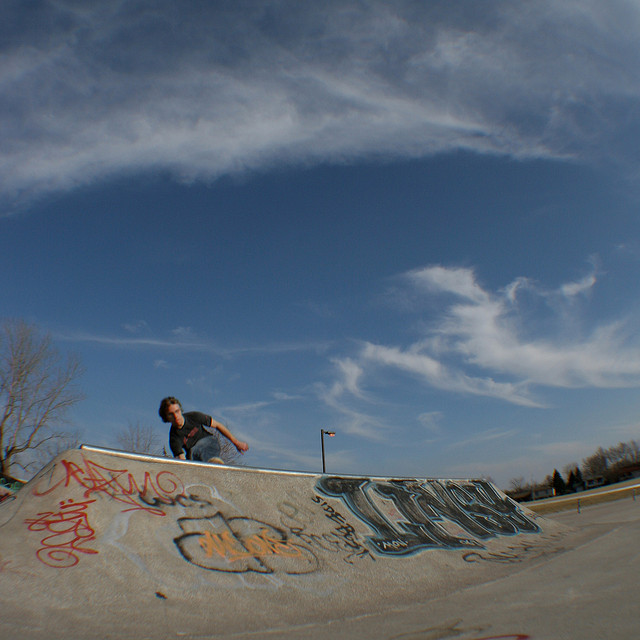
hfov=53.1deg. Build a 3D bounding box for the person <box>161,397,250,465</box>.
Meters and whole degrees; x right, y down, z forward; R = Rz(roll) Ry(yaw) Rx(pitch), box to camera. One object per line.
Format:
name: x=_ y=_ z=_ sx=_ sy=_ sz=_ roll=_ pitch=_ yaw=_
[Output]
person: x=-2.154 y=1.954 z=11.430 sx=1.376 sy=1.098 sz=1.178 roll=6 pitch=-5 yaw=-20
